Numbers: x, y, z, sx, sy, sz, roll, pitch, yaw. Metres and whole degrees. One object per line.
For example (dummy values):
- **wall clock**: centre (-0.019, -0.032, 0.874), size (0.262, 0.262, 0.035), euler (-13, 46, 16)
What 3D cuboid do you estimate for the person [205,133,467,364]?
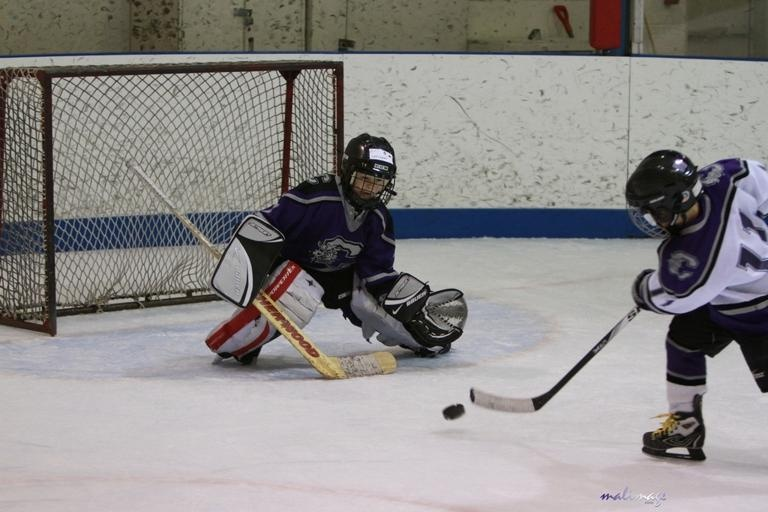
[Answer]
- **person**: centre (-0.244, -0.015, 4.121), size (1.319, 1.003, 0.744), euler (7, 8, -22)

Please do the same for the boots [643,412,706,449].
- **boots**: centre (1.060, 0.633, 3.200), size (0.103, 0.164, 0.293), euler (9, -17, -34)

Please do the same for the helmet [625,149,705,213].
- **helmet**: centre (0.974, -0.264, 3.077), size (0.283, 0.216, 0.208), euler (-2, 15, 24)

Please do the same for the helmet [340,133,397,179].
- **helmet**: centre (-0.071, -0.432, 3.921), size (0.201, 0.184, 0.239), euler (3, 13, -43)

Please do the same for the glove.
- **glove**: centre (0.186, 0.232, 4.140), size (0.289, 0.367, 0.152), euler (-53, 4, -35)
